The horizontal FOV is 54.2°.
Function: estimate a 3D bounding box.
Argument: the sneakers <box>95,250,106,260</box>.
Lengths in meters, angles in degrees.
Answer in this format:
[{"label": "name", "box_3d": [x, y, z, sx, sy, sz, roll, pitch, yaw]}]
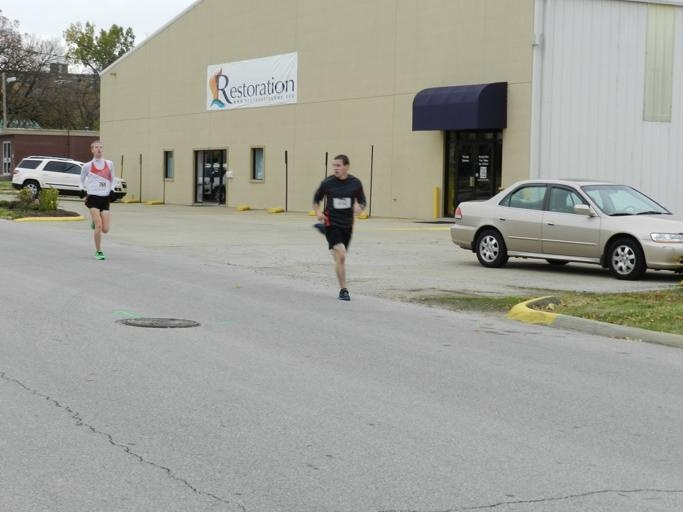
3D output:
[{"label": "sneakers", "box_3d": [-5.212, -0.015, 14.525, 0.121, 0.182, 0.392, -2, 2, -25]}]

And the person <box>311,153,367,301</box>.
[{"label": "person", "box_3d": [-0.028, -0.502, 10.988, 0.840, 2.364, 1.211, 1, 5, 0]}]

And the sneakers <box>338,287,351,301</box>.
[{"label": "sneakers", "box_3d": [0.071, 0.605, 10.822, 0.208, 0.193, 0.263, 1, 6, 0]}]

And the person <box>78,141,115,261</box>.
[{"label": "person", "box_3d": [-5.318, -1.239, 14.639, 0.664, 2.559, 0.803, -1, 5, -23]}]
